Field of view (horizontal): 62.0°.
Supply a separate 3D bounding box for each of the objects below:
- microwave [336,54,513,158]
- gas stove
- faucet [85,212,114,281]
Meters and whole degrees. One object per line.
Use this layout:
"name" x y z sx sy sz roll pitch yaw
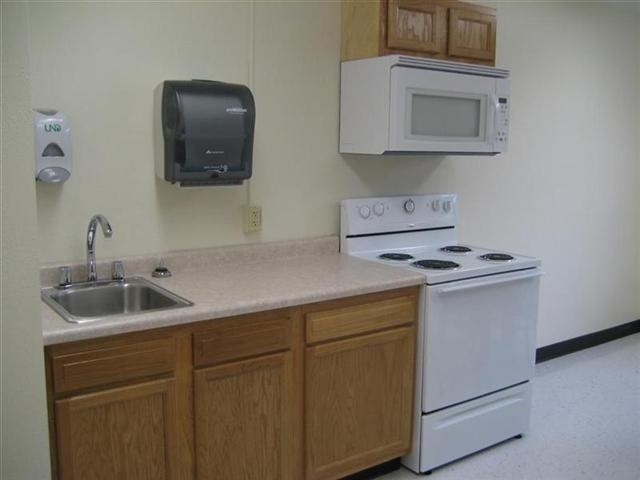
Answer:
"microwave" 0.556 -0.673 2.715 0.846 0.456 0.377 -2 12 -13
"gas stove" 0.674 0.104 2.801 0.713 0.076 0.670 -4 7 -29
"faucet" -0.877 0.039 2.119 0.107 0.287 0.309 -4 12 -22
